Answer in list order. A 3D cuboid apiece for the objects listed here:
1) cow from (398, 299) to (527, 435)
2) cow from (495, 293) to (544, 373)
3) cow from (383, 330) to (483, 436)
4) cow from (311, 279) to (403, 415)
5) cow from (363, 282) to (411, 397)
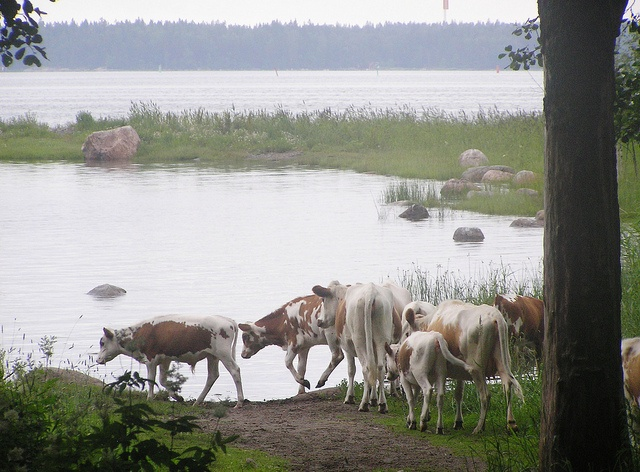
[{"bbox_3d":[2.857,2.692,28.819,0.942,2.733,4.142,-2,-3,-24],"label":"cow"},{"bbox_3d":[4.400,1.830,29.571,0.537,0.937,1.652,-6,0,26],"label":"cow"},{"bbox_3d":[2.052,3.037,28.853,0.836,2.048,3.174,-3,-9,-15],"label":"cow"},{"bbox_3d":[0.782,2.349,30.876,1.129,2.833,3.976,-2,-1,-12],"label":"cow"},{"bbox_3d":[1.312,2.227,30.043,0.719,2.720,1.369,1,-8,0],"label":"cow"}]
